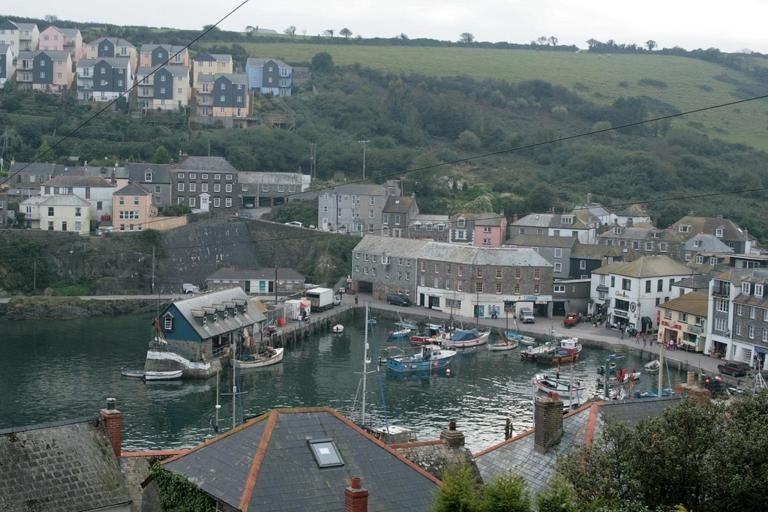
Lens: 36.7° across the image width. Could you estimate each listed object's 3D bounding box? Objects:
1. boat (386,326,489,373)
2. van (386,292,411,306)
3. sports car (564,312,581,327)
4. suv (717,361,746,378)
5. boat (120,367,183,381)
[{"bbox_3d":[5.479,9.915,121.174,14.956,4.819,6.630,0,-15,14],"label":"boat"},{"bbox_3d":[1.809,5.315,138.520,2.579,1.097,1.303,1,9,14],"label":"van"},{"bbox_3d":[21.124,7.185,130.141,1.120,0.960,1.922,12,20,36],"label":"sports car"},{"bbox_3d":[34.327,11.083,113.819,2.174,1.013,1.307,10,14,36],"label":"suv"},{"bbox_3d":[-22.895,11.841,115.411,5.773,1.077,1.135,2,10,-1],"label":"boat"}]
